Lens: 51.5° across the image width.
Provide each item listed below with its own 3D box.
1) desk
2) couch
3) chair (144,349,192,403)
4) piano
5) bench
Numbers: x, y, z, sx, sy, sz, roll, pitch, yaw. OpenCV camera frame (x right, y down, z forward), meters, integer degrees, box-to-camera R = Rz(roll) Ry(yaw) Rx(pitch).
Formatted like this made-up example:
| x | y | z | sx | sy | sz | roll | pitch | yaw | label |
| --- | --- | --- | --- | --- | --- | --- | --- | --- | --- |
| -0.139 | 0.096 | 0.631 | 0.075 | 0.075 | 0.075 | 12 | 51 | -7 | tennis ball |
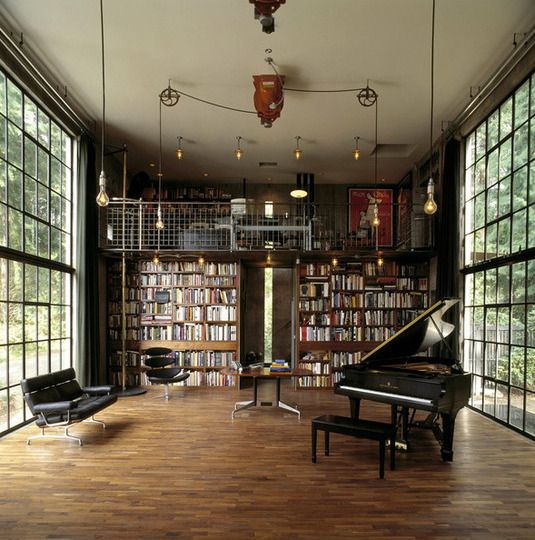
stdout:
| x | y | z | sx | sy | sz | roll | pitch | yaw | label |
| --- | --- | --- | --- | --- | --- | --- | --- | --- | --- |
| 0.002 | 2.010 | 9.893 | 1.388 | 0.929 | 2.854 | 0 | 2 | 2 | desk |
| -2.702 | 2.127 | 7.591 | 0.846 | 0.914 | 1.396 | 0 | -4 | 3 | couch |
| -1.894 | 1.934 | 10.510 | 0.829 | 0.997 | 0.921 | 5 | -15 | -35 | chair |
| 1.796 | 1.295 | 6.867 | 1.346 | 1.920 | 1.245 | 2 | 3 | 40 | piano |
| 1.003 | 1.996 | 6.501 | 1.027 | 0.504 | 0.730 | 1 | 2 | 33 | bench |
